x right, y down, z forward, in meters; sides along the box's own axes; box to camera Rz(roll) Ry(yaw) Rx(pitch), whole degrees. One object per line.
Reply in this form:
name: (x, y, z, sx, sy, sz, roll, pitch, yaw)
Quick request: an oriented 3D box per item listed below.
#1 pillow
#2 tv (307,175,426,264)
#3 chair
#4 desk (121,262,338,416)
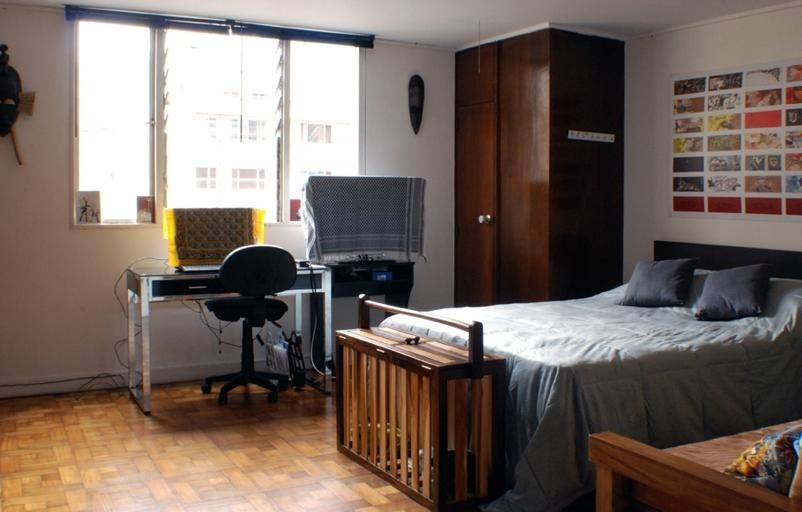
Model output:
pillow: (2.309, 0.239, 4.756, 0.480, 0.392, 1.008, -10, 13, -42)
tv: (-0.353, -0.354, 5.611, 1.246, 0.840, 0.734, -1, 10, -12)
chair: (-1.267, 0.533, 5.095, 0.774, 1.325, 0.543, -3, 11, -15)
desk: (-1.730, 0.657, 5.578, 0.874, 1.093, 1.681, 5, 2, 42)
